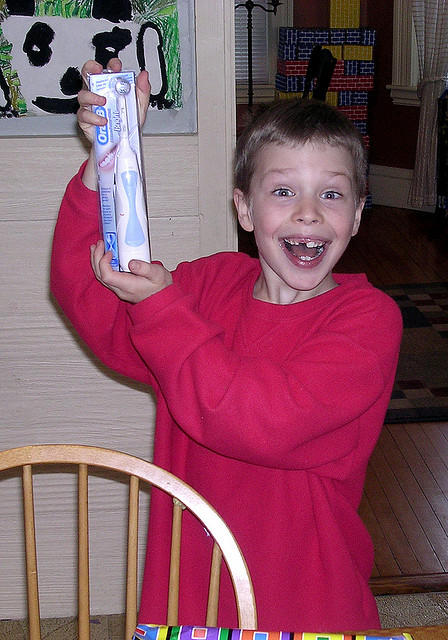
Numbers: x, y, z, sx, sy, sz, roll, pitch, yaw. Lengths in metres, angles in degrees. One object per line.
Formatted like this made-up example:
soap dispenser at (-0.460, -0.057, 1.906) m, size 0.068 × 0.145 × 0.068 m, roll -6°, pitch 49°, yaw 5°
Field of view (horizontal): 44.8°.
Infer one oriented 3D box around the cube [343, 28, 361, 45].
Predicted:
cube at (1.146, -2.563, 4.895) m, size 0.145 × 0.146 × 0.050 m, roll 0°, pitch 0°, yaw -4°

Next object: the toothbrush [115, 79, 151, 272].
toothbrush at (-0.096, -0.142, 0.546) m, size 0.033 × 0.186 × 0.060 m, roll -9°, pitch 24°, yaw -26°

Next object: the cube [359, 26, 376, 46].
cube at (1.295, -2.564, 4.920) m, size 0.154 × 0.138 × 0.054 m, roll -5°, pitch 22°, yaw -17°

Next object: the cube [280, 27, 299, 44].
cube at (0.565, -2.504, 4.819) m, size 0.160 × 0.163 × 0.161 m, roll -3°, pitch 22°, yaw -4°

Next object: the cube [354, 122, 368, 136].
cube at (1.303, -1.816, 5.147) m, size 0.110 × 0.115 × 0.441 m, roll 10°, pitch 23°, yaw 21°
